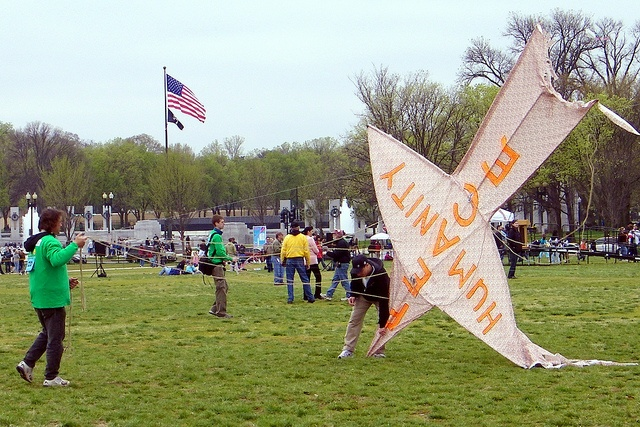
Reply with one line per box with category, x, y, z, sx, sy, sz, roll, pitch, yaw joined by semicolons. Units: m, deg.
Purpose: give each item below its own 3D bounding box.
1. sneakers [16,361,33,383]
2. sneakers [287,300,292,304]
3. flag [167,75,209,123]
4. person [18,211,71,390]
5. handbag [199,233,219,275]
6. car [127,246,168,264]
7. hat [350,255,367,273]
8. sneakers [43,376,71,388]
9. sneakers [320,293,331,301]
sneakers;-7.088;3.819;21.027;0.175;0.504;0.230;-19;31;28
sneakers;-1.013;3.004;29.458;0.131;0.094;0.171;8;-17;27
flag;-7.529;-6.341;48.714;1.912;2.464;3.975;-2;8;-10
person;-6.506;2.022;21.033;1.480;4.195;0.993;0;8;10
handbag;-3.336;1.292;26.854;0.402;1.143;0.736;17;-3;-22
car;-9.075;2.254;46.188;2.579;0.937;2.063;-3;-8;40
hat;1.027;1.350;22.788;0.412;0.502;0.289;-1;8;0
sneakers;-6.294;4.049;20.959;0.607;0.255;0.234;-1;4;-7
sneakers;0.202;2.920;30.489;0.450;0.206;0.154;18;7;21
